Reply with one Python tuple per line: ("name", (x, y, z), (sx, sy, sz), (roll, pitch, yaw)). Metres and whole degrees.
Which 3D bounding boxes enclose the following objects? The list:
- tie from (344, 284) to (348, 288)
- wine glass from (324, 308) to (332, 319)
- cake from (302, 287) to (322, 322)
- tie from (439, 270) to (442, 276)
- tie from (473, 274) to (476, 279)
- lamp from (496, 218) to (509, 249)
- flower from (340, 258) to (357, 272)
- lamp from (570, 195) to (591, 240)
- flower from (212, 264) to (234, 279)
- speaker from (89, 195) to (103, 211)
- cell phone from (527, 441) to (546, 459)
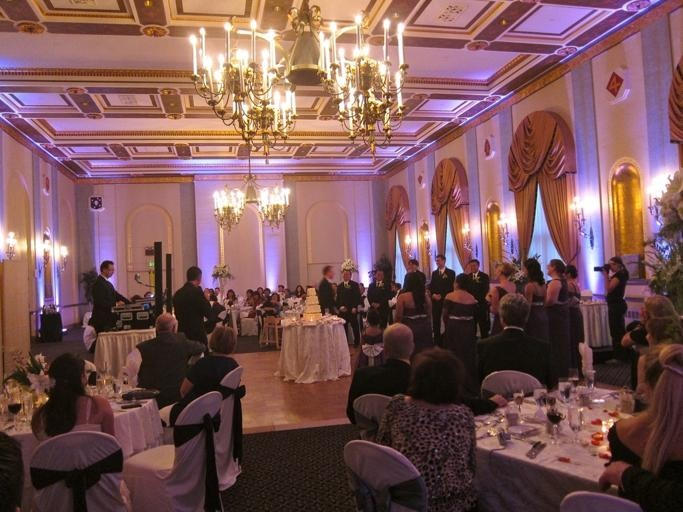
("tie", (0.105, 0.639, 12.184), (0.066, 0.077, 0.017), (-4, -9, 26))
("wine glass", (-0.277, 1.114, 10.872), (0.162, 0.298, 0.173), (1, -4, 7))
("cake", (-0.509, 0.869, 9.732), (0.433, 0.734, 0.462), (0, -11, -1))
("tie", (2.116, 0.348, 12.011), (0.079, 0.085, 0.019), (-3, -2, -42))
("tie", (2.329, 0.355, 9.808), (0.051, 0.083, 0.020), (-2, -9, 17))
("lamp", (3.545, -0.482, 12.263), (0.116, 0.745, 0.454), (-1, -4, -4))
("flower", (0.165, 0.213, 12.896), (0.283, 0.208, 0.365), (-1, 2, -10))
("lamp", (4.324, -0.695, 10.085), (0.319, 0.749, 0.165), (-4, -5, 33))
("flower", (-3.766, 0.503, 17.679), (0.460, 0.478, 0.492), (-4, -6, 20))
("speaker", (-7.842, -1.682, 17.879), (0.389, 0.452, 0.397), (-1, -5, -8))
("cell phone", (1.401, 1.387, 4.034), (0.075, 0.025, 0.156), (2, 29, 43))
